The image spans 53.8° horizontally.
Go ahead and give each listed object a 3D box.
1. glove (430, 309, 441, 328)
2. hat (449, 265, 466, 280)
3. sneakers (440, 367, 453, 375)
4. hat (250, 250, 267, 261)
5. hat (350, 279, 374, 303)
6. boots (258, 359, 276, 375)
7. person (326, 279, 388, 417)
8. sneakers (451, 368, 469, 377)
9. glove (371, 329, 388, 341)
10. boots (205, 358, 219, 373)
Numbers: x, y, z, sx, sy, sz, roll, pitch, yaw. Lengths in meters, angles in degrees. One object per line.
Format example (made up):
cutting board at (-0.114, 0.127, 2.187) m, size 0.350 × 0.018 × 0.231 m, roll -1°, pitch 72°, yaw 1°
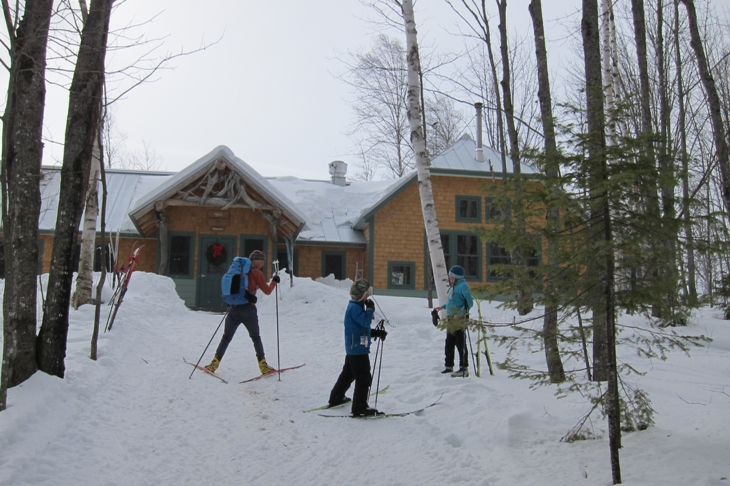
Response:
glove at (1.557, 1.637, 15.826) m, size 0.342 × 0.524 × 0.151 m, roll -1°, pitch -1°, yaw 9°
hat at (1.911, 0.609, 14.877) m, size 0.296 × 0.296 × 0.255 m, roll -5°, pitch -5°, yaw 23°
sneakers at (1.681, 2.575, 14.617) m, size 0.252 × 0.114 × 0.250 m, roll 2°, pitch 10°, yaw 16°
hat at (-2.223, 0.245, 14.889) m, size 0.233 × 0.260 × 0.296 m, roll 23°, pitch 4°, yaw 29°
hat at (-0.095, 0.863, 12.971) m, size 0.306 × 0.409 × 0.341 m, roll 3°, pitch -25°, yaw 45°
boots at (-1.942, 2.461, 14.369) m, size 0.378 × 0.402 × 0.215 m, roll -6°, pitch -2°, yaw -15°
person at (-0.127, 1.868, 12.938) m, size 0.970 × 2.381 × 0.616 m, roll 0°, pitch 9°, yaw 2°
sneakers at (1.912, 2.567, 14.378) m, size 0.346 × 0.151 × 0.297 m, roll 0°, pitch 9°, yaw 6°
glove at (0.249, 1.652, 13.034) m, size 0.276 × 0.186 × 0.124 m, roll 2°, pitch 2°, yaw 36°
boots at (-3.030, 2.433, 14.268) m, size 0.240 × 0.249 × 0.121 m, roll 30°, pitch -18°, yaw 22°
